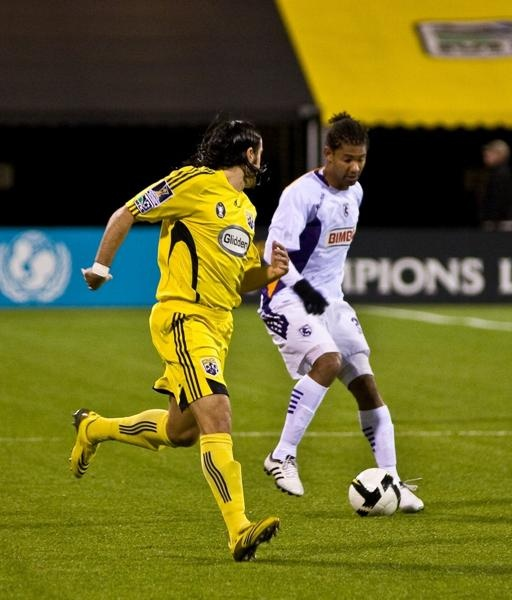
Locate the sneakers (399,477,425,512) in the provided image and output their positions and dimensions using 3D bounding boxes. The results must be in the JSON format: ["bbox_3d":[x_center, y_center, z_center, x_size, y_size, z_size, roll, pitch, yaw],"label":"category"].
[{"bbox_3d":[0.762,0.964,4.832,0.137,0.143,0.151,6,8,10],"label":"sneakers"}]

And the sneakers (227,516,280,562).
[{"bbox_3d":[-0.009,0.931,3.802,0.087,0.224,0.171,-2,11,-39],"label":"sneakers"}]

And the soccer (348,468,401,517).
[{"bbox_3d":[0.576,0.934,4.774,0.277,0.200,0.169,2,9,-14],"label":"soccer"}]

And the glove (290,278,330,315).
[{"bbox_3d":[0.277,-0.019,5.040,0.149,0.197,0.102,-41,-4,0],"label":"glove"}]

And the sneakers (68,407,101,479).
[{"bbox_3d":[-0.912,0.730,4.966,0.145,0.363,0.192,-1,23,-24],"label":"sneakers"}]
